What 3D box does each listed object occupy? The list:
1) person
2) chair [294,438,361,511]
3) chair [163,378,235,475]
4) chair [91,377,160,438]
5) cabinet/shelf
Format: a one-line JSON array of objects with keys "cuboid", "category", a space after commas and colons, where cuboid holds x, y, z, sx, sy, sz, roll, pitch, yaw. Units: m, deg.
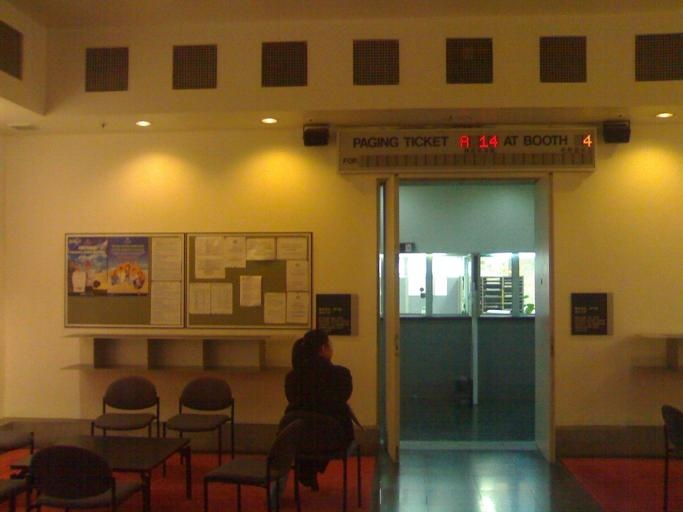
[{"cuboid": [-0.196, 1.197, 5.997, 0.544, 1.334, 0.450, -1, 10, -8], "category": "person"}, {"cuboid": [-0.054, 1.556, 5.714, 0.589, 0.569, 0.438, -2, -12, 9], "category": "chair"}, {"cuboid": [-1.137, 1.328, 6.339, 0.515, 0.787, 0.545, 0, -6, 3], "category": "chair"}, {"cuboid": [-1.763, 1.237, 6.305, 0.463, 0.725, 0.496, 0, -6, -5], "category": "chair"}, {"cuboid": [-1.292, 0.819, 6.666, 1.777, 0.340, 0.190, 2, -3, -3], "category": "cabinet/shelf"}]
